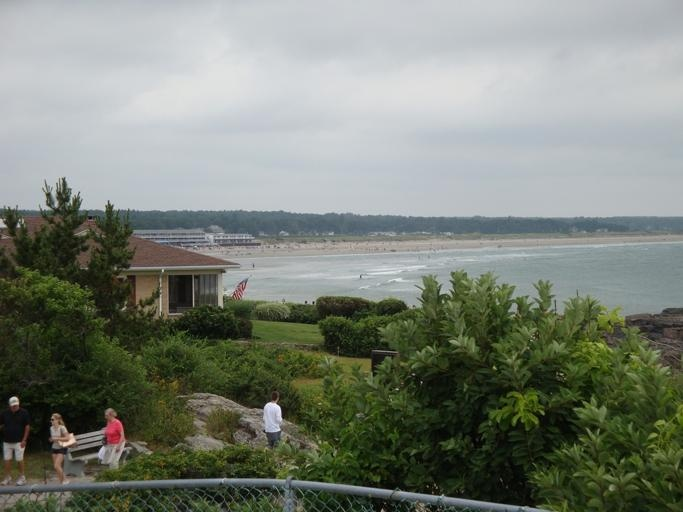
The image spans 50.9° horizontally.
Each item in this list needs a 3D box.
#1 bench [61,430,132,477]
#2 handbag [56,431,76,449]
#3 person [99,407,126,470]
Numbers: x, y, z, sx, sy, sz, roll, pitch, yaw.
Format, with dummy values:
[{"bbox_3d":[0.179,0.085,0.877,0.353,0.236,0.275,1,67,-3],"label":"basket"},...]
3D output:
[{"bbox_3d":[-5.131,4.085,14.850,0.684,0.624,1.486,5,-3,16],"label":"bench"},{"bbox_3d":[-5.398,3.639,14.072,0.380,0.301,0.130,-11,-6,-30],"label":"handbag"},{"bbox_3d":[-4.457,3.580,14.052,0.429,1.164,0.712,0,1,-27],"label":"person"}]
